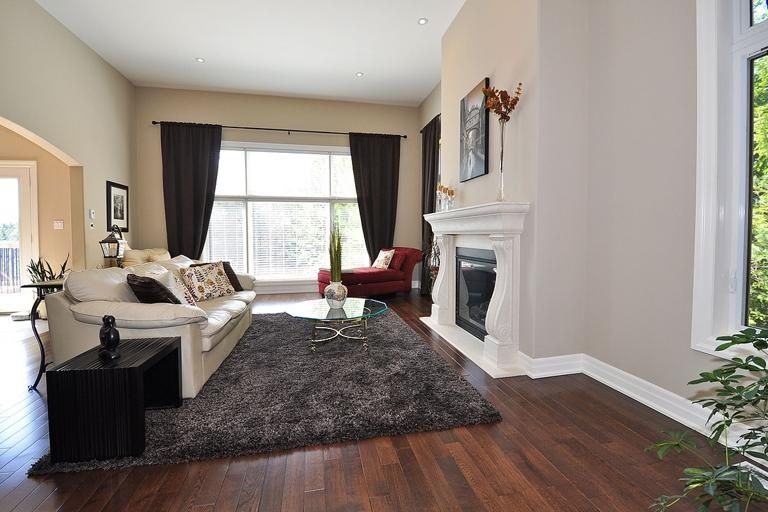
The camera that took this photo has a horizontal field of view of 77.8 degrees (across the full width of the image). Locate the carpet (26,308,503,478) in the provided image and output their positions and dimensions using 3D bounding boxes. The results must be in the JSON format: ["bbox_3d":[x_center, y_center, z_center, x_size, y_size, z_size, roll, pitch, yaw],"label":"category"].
[{"bbox_3d":[-0.666,1.193,4.560,3.007,0.406,1.865,-4,5,-8],"label":"carpet"}]

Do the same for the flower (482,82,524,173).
[{"bbox_3d":[1.137,-1.317,4.844,0.365,0.910,0.468,-4,7,-10],"label":"flower"}]

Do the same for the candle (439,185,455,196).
[{"bbox_3d":[0.760,-0.816,5.965,0.143,0.063,0.190,3,-1,-23],"label":"candle"}]

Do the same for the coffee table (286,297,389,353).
[{"bbox_3d":[-0.497,0.756,5.216,1.007,0.353,1.009,-1,5,-1],"label":"coffee table"}]

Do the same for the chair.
[{"bbox_3d":[-0.265,0.229,7.848,1.472,0.852,0.812,0,2,-22],"label":"chair"}]

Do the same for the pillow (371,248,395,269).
[{"bbox_3d":[-0.007,0.044,7.933,0.102,0.330,0.344,31,-14,-34],"label":"pillow"}]
